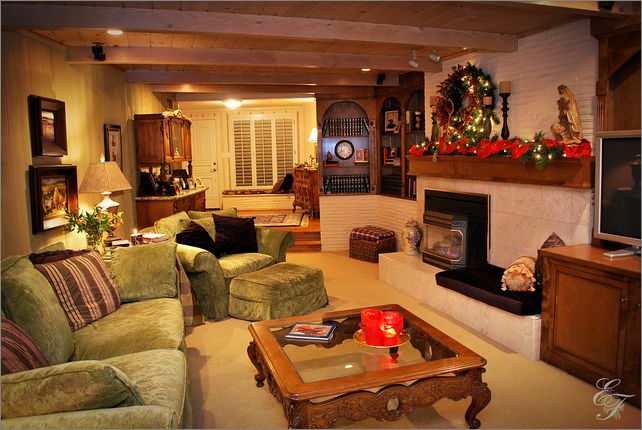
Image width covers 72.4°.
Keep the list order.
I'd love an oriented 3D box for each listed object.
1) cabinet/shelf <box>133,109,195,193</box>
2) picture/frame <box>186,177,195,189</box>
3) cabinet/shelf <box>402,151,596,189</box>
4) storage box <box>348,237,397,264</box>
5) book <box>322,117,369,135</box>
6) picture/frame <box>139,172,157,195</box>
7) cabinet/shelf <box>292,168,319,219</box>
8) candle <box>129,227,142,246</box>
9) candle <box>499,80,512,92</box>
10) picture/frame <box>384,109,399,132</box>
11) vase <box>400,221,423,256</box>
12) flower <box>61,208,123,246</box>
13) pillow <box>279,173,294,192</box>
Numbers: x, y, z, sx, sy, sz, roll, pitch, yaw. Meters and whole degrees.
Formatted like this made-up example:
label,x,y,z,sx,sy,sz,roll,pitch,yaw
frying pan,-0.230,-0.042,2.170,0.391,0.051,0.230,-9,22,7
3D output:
label,x,y,z,sx,sy,sz,roll,pitch,yaw
cabinet/shelf,-2.743,-1.100,7.561,0.572,1.594,1.765,-2,8,-2
picture/frame,-2.638,-0.643,8.833,0.030,0.271,0.270,-11,2,13
cabinet/shelf,1.876,-0.504,4.818,0.184,0.316,2.235,-6,10,-31
storage box,0.878,0.544,7.162,0.502,0.291,0.487,-3,6,-34
book,0.448,-1.574,7.770,0.788,0.309,0.140,-2,9,-11
picture/frame,-2.829,-0.502,7.120,0.354,0.367,0.086,5,14,19
cabinet/shelf,-0.333,-0.518,10.155,0.509,1.082,1.187,-2,8,-21
candle,-2.018,0.231,4.884,0.184,0.241,0.194,-1,2,-14
candle,2.151,-1.476,5.080,0.139,0.145,0.142,-1,7,3
picture/frame,1.218,-1.613,7.460,0.032,0.459,0.419,-3,7,-32
vase,1.278,0.289,6.040,0.236,0.458,0.303,3,9,24
flower,-2.471,0.086,4.792,0.554,0.352,0.477,1,8,-2
pillow,-0.907,-0.863,11.711,0.112,0.395,0.411,14,-2,-39
